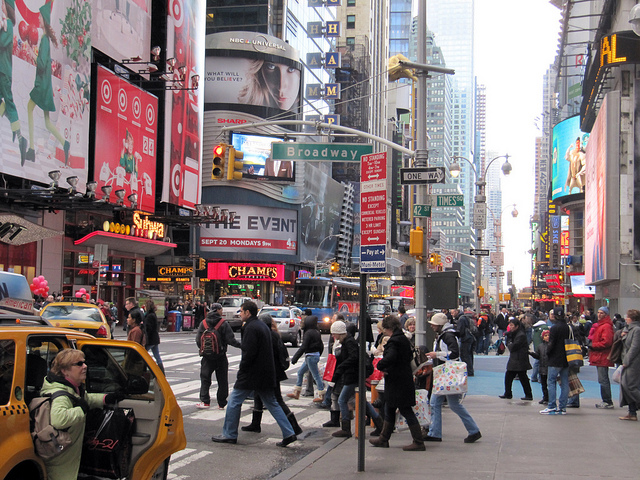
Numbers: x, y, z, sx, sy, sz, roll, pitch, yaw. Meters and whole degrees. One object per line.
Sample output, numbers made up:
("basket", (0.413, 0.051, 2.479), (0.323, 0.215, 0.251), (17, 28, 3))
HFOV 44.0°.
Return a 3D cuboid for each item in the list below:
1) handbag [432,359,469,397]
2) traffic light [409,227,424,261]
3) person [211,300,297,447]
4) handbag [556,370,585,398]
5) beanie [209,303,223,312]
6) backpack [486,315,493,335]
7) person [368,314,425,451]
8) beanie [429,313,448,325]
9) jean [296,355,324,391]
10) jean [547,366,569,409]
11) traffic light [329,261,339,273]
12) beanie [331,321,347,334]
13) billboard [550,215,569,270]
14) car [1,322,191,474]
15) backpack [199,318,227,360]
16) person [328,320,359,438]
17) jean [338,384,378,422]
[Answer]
("handbag", (2.524, 2.725, 15.443), (0.649, 0.681, 0.581), (-1, -7, 7))
("traffic light", (2.393, 0.087, 19.492), (0.386, 0.832, 0.408), (1, -7, -8))
("person", (-1.199, 2.549, 15.082), (1.426, 2.766, 0.626), (0, -6, -6))
("handbag", (6.209, 3.537, 19.490), (0.567, 0.784, 0.230), (-22, -4, 3))
("beanie", (-2.405, 1.594, 18.468), (0.227, 0.243, 0.173), (-9, 9, -31))
("backpack", (7.996, 3.951, 36.891), (0.312, 0.929, 0.635), (-2, -2, 9))
("person", (1.450, 2.685, 14.890), (0.959, 2.505, 1.046), (0, -7, 1))
("beanie", (2.534, 1.670, 16.686), (0.261, 0.144, 0.207), (9, -4, -13))
("jean", (-0.206, 3.299, 19.672), (0.591, 0.847, 0.955), (1, -7, -14))
("jean", (5.666, 3.461, 18.730), (0.411, 1.460, 0.410), (7, -42, 9))
("traffic light", (0.992, 1.912, 53.822), (0.565, 1.028, 1.073), (4, -2, 0))
("beanie", (0.381, 1.788, 16.116), (0.241, 0.203, 0.216), (-4, 2, 19))
("billboard", (26.838, -0.364, 90.063), (3.124, 6.495, 3.212), (-1, -7, 14))
("car", (-3.293, 2.023, 10.890), (2.224, 1.285, 1.611), (0, 0, -43))
("backpack", (-2.444, 2.279, 18.015), (0.605, 0.884, 0.487), (-8, -5, 15))
("person", (0.489, 2.814, 16.007), (0.577, 2.317, 0.659), (0, -6, 0))
("jean", (0.705, 3.285, 15.878), (0.574, 0.755, 1.025), (3, -8, -27))
